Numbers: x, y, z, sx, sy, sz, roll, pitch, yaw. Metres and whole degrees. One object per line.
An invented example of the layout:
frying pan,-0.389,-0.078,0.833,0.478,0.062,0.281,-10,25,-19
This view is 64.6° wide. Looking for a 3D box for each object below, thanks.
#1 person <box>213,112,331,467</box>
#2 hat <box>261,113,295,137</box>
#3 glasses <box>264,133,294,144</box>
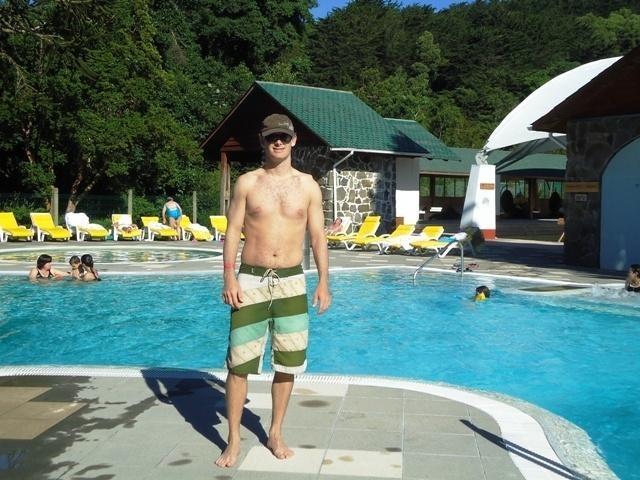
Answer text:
person,-0.314,0.256,3.461,0.748,2.333,0.571,2,-3,4
hat,-0.292,-0.777,3.449,0.168,0.101,0.214,1,0,-1
glasses,-0.275,-0.677,3.357,0.136,0.065,0.169,0,0,0
